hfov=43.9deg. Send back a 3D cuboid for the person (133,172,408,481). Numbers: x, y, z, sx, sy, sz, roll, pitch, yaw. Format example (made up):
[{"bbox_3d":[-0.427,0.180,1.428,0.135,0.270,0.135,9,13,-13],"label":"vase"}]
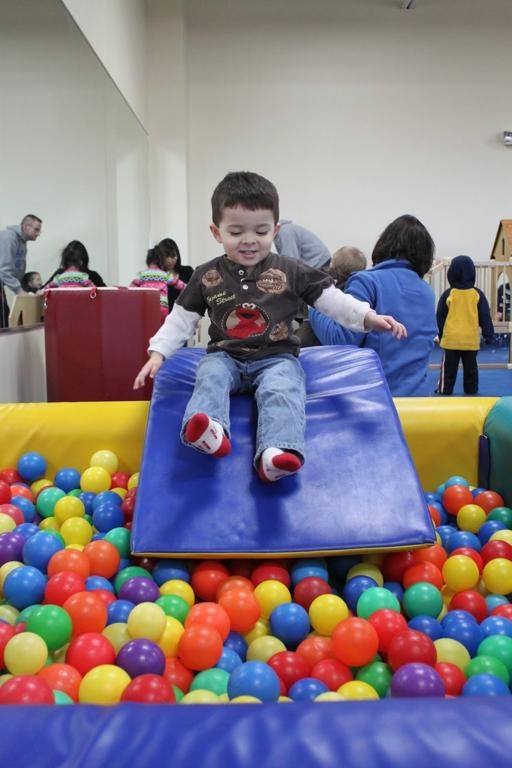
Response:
[{"bbox_3d":[0.010,-0.159,1.498,0.702,0.534,0.914,0,22,-4],"label":"person"}]

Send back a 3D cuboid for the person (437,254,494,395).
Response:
[{"bbox_3d":[1.538,-0.435,4.697,0.410,1.009,0.584,3,9,18],"label":"person"}]
